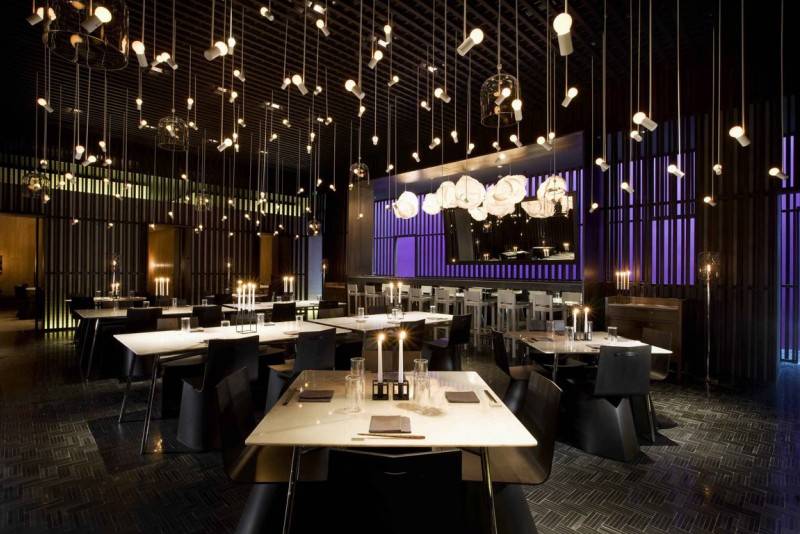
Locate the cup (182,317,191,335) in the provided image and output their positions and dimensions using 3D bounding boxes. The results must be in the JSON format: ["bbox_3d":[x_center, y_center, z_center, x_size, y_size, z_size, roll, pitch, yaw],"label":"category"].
[{"bbox_3d":[-3.360,0.899,9.103,0.117,0.220,0.123,-4,-1,0],"label":"cup"}]

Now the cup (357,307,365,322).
[{"bbox_3d":[-0.704,0.858,10.633,0.184,0.304,0.187,0,-6,0],"label":"cup"}]

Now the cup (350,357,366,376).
[{"bbox_3d":[-0.511,1.212,7.157,0.147,0.284,0.265,0,-1,-2],"label":"cup"}]

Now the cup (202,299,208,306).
[{"bbox_3d":[-5.045,0.894,14.987,0.170,0.281,0.182,0,-3,0],"label":"cup"}]

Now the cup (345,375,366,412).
[{"bbox_3d":[-0.540,1.494,6.970,0.226,0.451,0.401,-4,-1,-6],"label":"cup"}]

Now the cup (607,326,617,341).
[{"bbox_3d":[3.316,1.029,9.055,0.200,0.261,0.214,2,-1,0],"label":"cup"}]

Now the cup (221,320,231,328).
[{"bbox_3d":[-2.936,0.938,9.733,0.099,0.172,0.107,1,8,0],"label":"cup"}]

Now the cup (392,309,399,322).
[{"bbox_3d":[-0.088,0.864,10.594,0.154,0.324,0.167,1,-10,0],"label":"cup"}]
